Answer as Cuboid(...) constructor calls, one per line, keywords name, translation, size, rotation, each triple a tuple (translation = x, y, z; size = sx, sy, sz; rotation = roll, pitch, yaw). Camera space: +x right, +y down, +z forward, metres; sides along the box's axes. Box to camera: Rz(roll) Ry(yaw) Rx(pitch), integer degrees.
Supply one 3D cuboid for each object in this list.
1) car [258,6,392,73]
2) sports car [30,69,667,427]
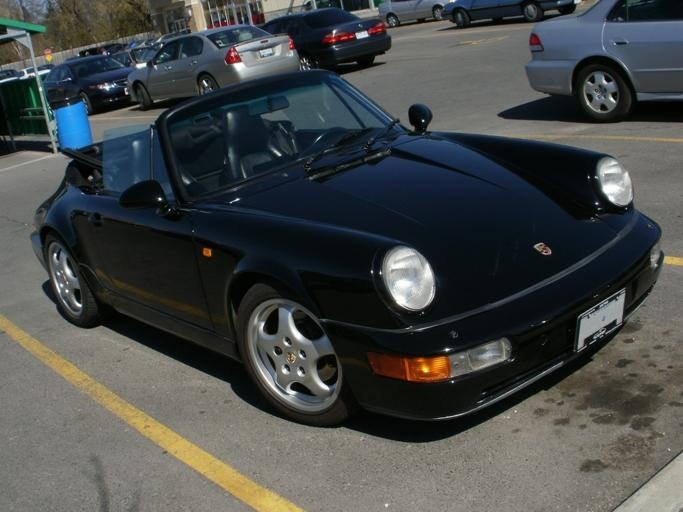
Cuboid(name="car", translation=(-0.310, -7.264, 16.172), size=(2.004, 1.314, 4.400), rotation=(-19, 30, -31))
Cuboid(name="sports car", translation=(-0.379, -0.267, 3.442), size=(4.058, 1.432, 2.425), rotation=(16, 29, 36))
